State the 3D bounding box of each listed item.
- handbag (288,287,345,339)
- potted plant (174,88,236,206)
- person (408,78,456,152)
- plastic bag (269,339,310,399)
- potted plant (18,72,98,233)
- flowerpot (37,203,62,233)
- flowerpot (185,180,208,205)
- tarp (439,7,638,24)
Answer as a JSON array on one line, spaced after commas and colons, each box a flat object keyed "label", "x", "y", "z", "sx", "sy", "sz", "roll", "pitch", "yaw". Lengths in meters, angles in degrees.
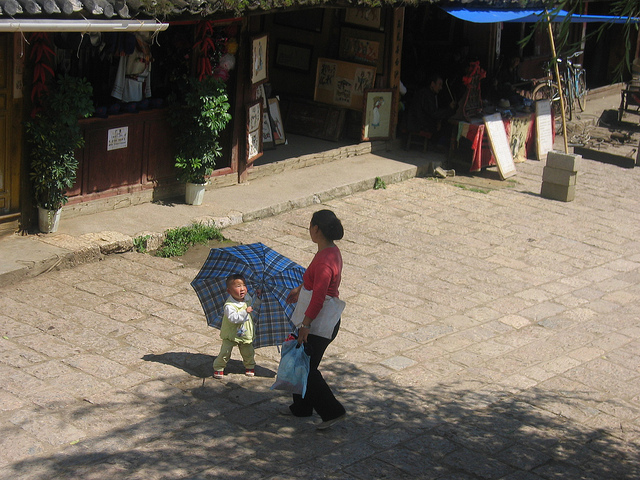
[{"label": "handbag", "x": 0.015, "y": 0.731, "z": 6.497, "sx": 0.463, "sy": 0.364, "sz": 0.462, "roll": 22, "pitch": 12, "yaw": -27}, {"label": "potted plant", "x": -1.870, "y": -1.497, "z": 11.095, "sx": 0.905, "sy": 1.873, "sz": 0.415, "roll": -3, "pitch": 13, "yaw": -10}, {"label": "person", "x": 2.463, "y": -2.728, "z": 15.045, "sx": 0.930, "sy": 1.603, "sz": 0.591, "roll": 3, "pitch": 13, "yaw": 14}, {"label": "plastic bag", "x": -0.219, "y": 1.137, "z": 6.407, "sx": 0.318, "sy": 0.565, "sz": 0.238, "roll": 11, "pitch": -3, "yaw": -10}, {"label": "potted plant", "x": -3.533, "y": -1.150, "z": 9.350, "sx": 0.925, "sy": 2.142, "sz": 0.348, "roll": -6, "pitch": 14, "yaw": -22}, {"label": "flowerpot", "x": -3.685, "y": -0.289, "z": 9.622, "sx": 0.373, "sy": 0.387, "sz": 0.375, "roll": 6, "pitch": 23, "yaw": -8}, {"label": "flowerpot", "x": -1.992, "y": -0.756, "z": 11.153, "sx": 0.350, "sy": 0.261, "sz": 0.339, "roll": 6, "pitch": 22, "yaw": -5}, {"label": "tarp", "x": 4.599, "y": -4.940, "z": 15.038, "sx": 4.378, "sy": 0.475, "sz": 1.679, "roll": -12, "pitch": 17, "yaw": -42}]
